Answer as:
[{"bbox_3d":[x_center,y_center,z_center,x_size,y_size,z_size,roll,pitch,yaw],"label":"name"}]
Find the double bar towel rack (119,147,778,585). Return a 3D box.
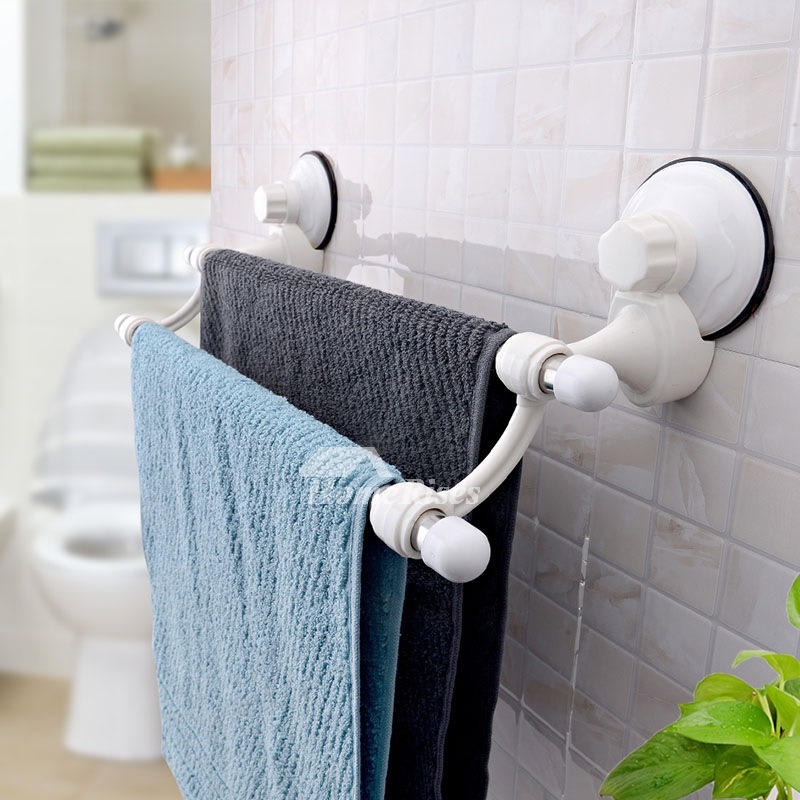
[{"bbox_3d":[-0.041,-0.086,0.521,0.209,0.183,0.561,-13,25,-32],"label":"double bar towel rack"}]
